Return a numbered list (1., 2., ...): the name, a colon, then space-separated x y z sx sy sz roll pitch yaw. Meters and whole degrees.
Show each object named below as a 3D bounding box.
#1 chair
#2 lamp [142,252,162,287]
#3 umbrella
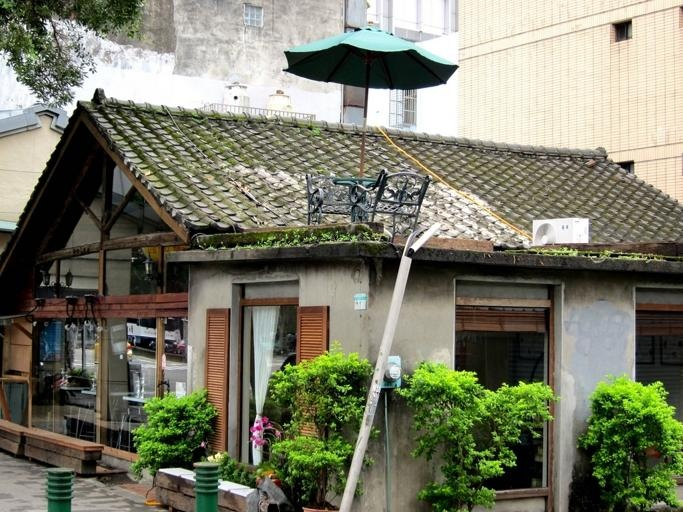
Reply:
1. chair: 0.277 -0.939 23.683 1.192 1.049 2.091 2 4 -28
2. lamp: -3.687 0.277 26.394 0.158 0.694 0.584 12 -14 -35
3. umbrella: 0.503 -3.226 24.065 2.862 1.176 2.095 4 -12 -2
